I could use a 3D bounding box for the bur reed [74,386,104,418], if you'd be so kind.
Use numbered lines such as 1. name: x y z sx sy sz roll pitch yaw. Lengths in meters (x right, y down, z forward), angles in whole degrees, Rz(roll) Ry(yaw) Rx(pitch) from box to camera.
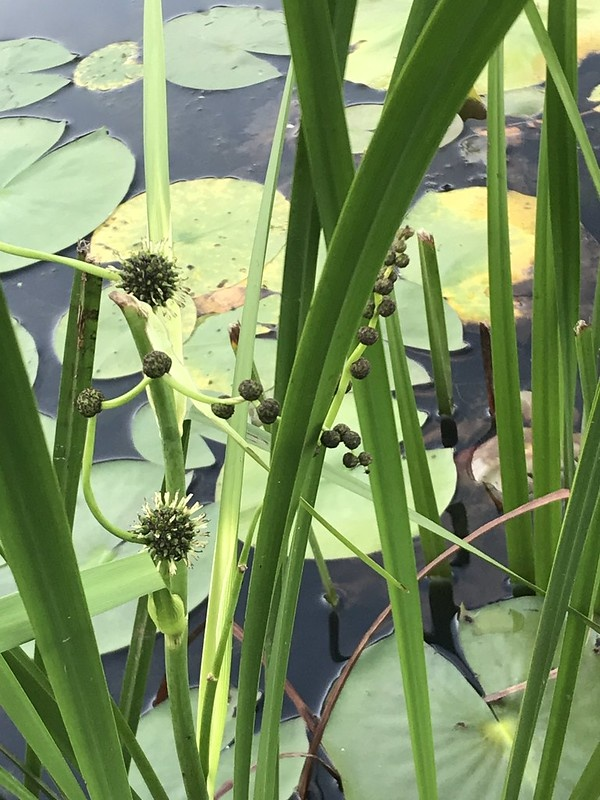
1. bur reed: -0.093 0.000 0.411 0.013 0.013 0.015 -1 -1 0

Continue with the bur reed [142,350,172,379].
1. bur reed: -0.067 -0.016 0.419 0.012 0.013 0.013 -17 36 2

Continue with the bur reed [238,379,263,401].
1. bur reed: -0.023 -0.005 0.428 0.011 0.010 0.004 -18 15 -24

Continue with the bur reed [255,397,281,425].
1. bur reed: -0.013 0.006 0.450 0.012 0.013 0.005 -1 -13 -13

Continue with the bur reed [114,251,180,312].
1. bur reed: -0.086 -0.061 0.512 0.035 0.032 0.027 6 58 -4
